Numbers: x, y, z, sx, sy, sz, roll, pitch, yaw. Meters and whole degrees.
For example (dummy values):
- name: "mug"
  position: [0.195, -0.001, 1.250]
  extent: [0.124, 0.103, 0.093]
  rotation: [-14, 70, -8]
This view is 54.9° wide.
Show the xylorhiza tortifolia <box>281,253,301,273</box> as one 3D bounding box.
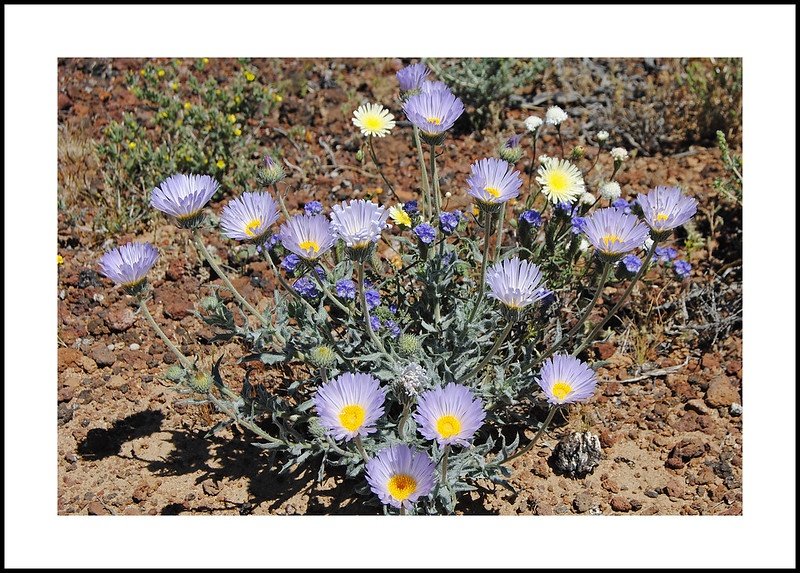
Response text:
- name: "xylorhiza tortifolia"
  position: [-0.770, -0.173, 5.532]
  extent: [0.155, 0.105, 0.163]
  rotation: [10, 124, -11]

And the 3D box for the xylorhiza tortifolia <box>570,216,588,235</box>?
- name: "xylorhiza tortifolia"
  position: [1.318, -0.455, 5.707]
  extent: [0.141, 0.069, 0.170]
  rotation: [4, 81, 17]

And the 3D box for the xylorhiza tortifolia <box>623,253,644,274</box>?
- name: "xylorhiza tortifolia"
  position: [1.700, -0.159, 5.632]
  extent: [0.158, 0.064, 0.176]
  rotation: [-4, 95, -16]

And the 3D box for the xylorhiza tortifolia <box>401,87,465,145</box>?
- name: "xylorhiza tortifolia"
  position: [0.217, -1.170, 5.122]
  extent: [0.433, 0.435, 0.241]
  rotation: [-8, 99, -11]

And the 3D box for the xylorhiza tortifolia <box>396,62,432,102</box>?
- name: "xylorhiza tortifolia"
  position: [0.073, -1.416, 5.319]
  extent: [0.235, 0.274, 0.287]
  rotation: [0, 107, 28]

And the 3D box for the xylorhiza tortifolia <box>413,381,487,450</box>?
- name: "xylorhiza tortifolia"
  position: [0.290, 0.746, 4.509]
  extent: [0.395, 0.424, 0.187]
  rotation: [-6, 104, -21]

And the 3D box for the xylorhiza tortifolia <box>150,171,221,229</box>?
- name: "xylorhiza tortifolia"
  position: [-1.355, -0.504, 4.929]
  extent: [0.380, 0.399, 0.213]
  rotation: [-23, 81, 16]

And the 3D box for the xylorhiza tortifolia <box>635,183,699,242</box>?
- name: "xylorhiza tortifolia"
  position: [1.635, -0.434, 4.893]
  extent: [0.432, 0.445, 0.390]
  rotation: [11, 96, 21]

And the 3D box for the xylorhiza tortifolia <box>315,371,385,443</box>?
- name: "xylorhiza tortifolia"
  position: [-0.317, 0.753, 4.584]
  extent: [0.422, 0.444, 0.194]
  rotation: [-21, 122, 5]

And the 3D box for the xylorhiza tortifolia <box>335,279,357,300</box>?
- name: "xylorhiza tortifolia"
  position: [-0.364, 0.022, 5.334]
  extent: [0.119, 0.060, 0.135]
  rotation: [-24, 100, 9]

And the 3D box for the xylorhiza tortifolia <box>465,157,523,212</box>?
- name: "xylorhiza tortifolia"
  position: [0.580, -0.624, 4.860]
  extent: [0.321, 0.171, 0.354]
  rotation: [7, 63, 4]

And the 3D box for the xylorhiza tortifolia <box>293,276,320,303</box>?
- name: "xylorhiza tortifolia"
  position: [-0.654, 0.028, 5.478]
  extent: [0.136, 0.161, 0.194]
  rotation: [-41, 82, -6]

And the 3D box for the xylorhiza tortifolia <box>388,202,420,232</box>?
- name: "xylorhiza tortifolia"
  position: [0.041, -0.522, 5.651]
  extent: [0.199, 0.100, 0.223]
  rotation: [19, 83, 42]

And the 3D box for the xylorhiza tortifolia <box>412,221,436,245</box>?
- name: "xylorhiza tortifolia"
  position: [0.174, -0.363, 5.286]
  extent: [0.136, 0.060, 0.131]
  rotation: [42, 93, -11]

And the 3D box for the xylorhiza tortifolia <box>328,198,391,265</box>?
- name: "xylorhiza tortifolia"
  position: [-0.241, -0.344, 4.726]
  extent: [0.335, 0.353, 0.322]
  rotation: [4, 105, 36]

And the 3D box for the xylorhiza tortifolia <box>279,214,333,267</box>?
- name: "xylorhiza tortifolia"
  position: [-0.597, -0.304, 4.839]
  extent: [0.381, 0.384, 0.197]
  rotation: [1, 70, -37]

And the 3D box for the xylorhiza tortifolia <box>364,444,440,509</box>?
- name: "xylorhiza tortifolia"
  position: [0.004, 1.139, 4.650]
  extent: [0.368, 0.178, 0.393]
  rotation: [26, 79, 10]

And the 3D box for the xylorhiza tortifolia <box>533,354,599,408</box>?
- name: "xylorhiza tortifolia"
  position: [1.047, 0.596, 4.814]
  extent: [0.314, 0.145, 0.352]
  rotation: [-4, 67, 2]

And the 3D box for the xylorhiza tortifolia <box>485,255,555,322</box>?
- name: "xylorhiza tortifolia"
  position: [0.781, 0.049, 4.933]
  extent: [0.389, 0.390, 0.310]
  rotation: [18, 55, 41]

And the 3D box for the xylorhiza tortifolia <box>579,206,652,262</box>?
- name: "xylorhiza tortifolia"
  position: [1.356, -0.324, 4.952]
  extent: [0.439, 0.462, 0.251]
  rotation: [7, 77, -1]

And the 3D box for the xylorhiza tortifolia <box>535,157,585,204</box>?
- name: "xylorhiza tortifolia"
  position: [1.166, -0.761, 5.632]
  extent: [0.315, 0.129, 0.351]
  rotation: [0, 79, -11]
